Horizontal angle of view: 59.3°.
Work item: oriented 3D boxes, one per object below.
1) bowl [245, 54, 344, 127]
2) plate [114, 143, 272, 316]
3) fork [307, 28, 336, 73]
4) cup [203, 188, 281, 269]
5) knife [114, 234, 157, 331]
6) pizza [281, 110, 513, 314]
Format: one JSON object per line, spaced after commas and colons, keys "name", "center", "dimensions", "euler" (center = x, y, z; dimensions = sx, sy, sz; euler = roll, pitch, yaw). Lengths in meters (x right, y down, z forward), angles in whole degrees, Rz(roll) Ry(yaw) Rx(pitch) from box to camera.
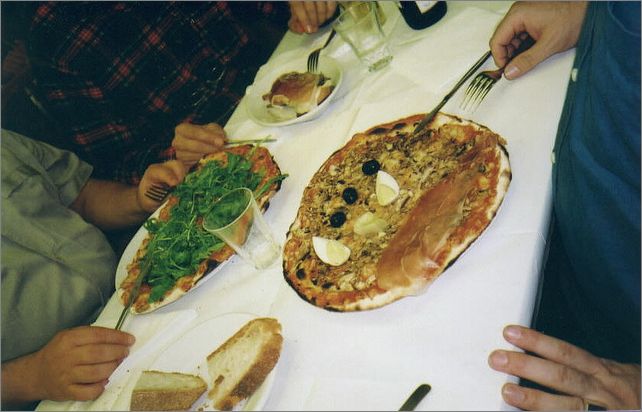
{"name": "bowl", "center": [-0.138, -0.686, 3.328], "dimensions": [0.496, 0.154, 0.508], "euler": [-19, 38, 15]}
{"name": "plate", "center": [-0.678, 0.123, 3.040], "dimensions": [0.674, 0.139, 1.022], "euler": [15, 65, 48]}
{"name": "fork", "center": [0.006, -0.951, 3.472], "dimensions": [0.051, 0.052, 0.455], "euler": [30, 51, -2]}
{"name": "cup", "center": [-0.399, 0.130, 2.851], "dimensions": [0.269, 0.340, 0.267], "euler": [-26, 41, 25]}
{"name": "knife", "center": [-0.987, 0.425, 3.019], "dimensions": [0.058, 0.027, 0.527], "euler": [10, 69, 34]}
{"name": "pizza", "center": [0.307, -0.014, 2.720], "dimensions": [1.179, 0.283, 0.858], "euler": [-40, 60, -14]}
